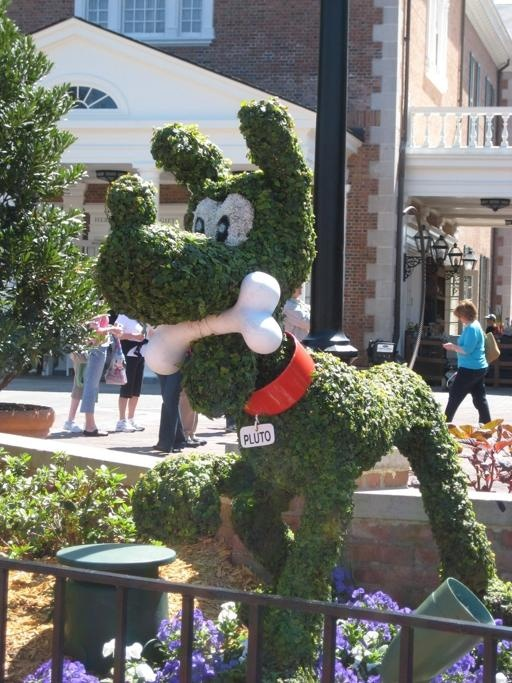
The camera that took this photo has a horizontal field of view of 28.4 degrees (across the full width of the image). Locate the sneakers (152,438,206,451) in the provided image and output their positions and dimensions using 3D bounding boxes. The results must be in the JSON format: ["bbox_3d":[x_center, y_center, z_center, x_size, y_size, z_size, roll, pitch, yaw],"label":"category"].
[{"bbox_3d":[-0.656,0.910,8.805,0.424,0.170,0.140,8,-8,-36],"label":"sneakers"}]

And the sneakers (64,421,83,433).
[{"bbox_3d":[-1.764,0.815,9.673,0.083,0.082,0.197,8,3,24],"label":"sneakers"}]

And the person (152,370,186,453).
[{"bbox_3d":[-0.713,0.591,8.401,0.238,0.715,0.908,2,3,-5],"label":"person"}]

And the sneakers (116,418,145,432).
[{"bbox_3d":[-1.266,0.824,9.997,0.227,0.089,0.125,2,2,14],"label":"sneakers"}]

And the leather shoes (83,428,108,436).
[{"bbox_3d":[-1.512,0.850,9.485,0.231,0.082,0.083,0,4,-12],"label":"leather shoes"}]

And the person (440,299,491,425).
[{"bbox_3d":[2.177,0.242,10.386,0.484,1.319,1.283,3,3,13],"label":"person"}]
